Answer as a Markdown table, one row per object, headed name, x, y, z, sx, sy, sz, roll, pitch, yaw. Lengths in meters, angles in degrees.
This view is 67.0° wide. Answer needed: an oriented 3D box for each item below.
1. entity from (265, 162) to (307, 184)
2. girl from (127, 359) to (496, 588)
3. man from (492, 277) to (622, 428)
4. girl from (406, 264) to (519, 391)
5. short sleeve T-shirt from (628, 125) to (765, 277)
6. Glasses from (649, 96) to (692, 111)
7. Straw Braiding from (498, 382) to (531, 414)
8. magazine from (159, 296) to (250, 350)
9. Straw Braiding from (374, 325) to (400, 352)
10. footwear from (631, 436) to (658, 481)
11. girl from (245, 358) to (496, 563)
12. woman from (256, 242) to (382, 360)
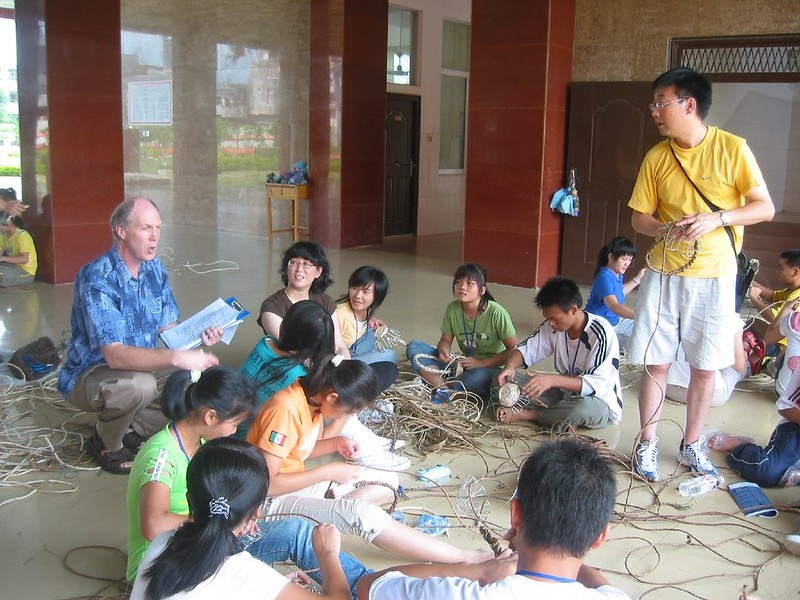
| name | x | y | z | sx | sy | sz | roll | pitch | yaw |
| --- | --- | --- | --- | --- | --- | --- | --- | --- | --- |
| entity | -1.694 | -1.873 | 9.163 | 0.526 | 0.245 | 0.403 | 0 | 7 | 6 |
| girl | -0.174 | 0.654 | 2.439 | 1.064 | 0.797 | 0.462 | 5 | -2 | 14 |
| man | 1.009 | 0.330 | 3.917 | 0.810 | 0.970 | 0.945 | -3 | 11 | -17 |
| girl | 0.440 | 0.205 | 4.097 | 0.652 | 0.920 | 0.715 | -3 | 10 | -35 |
| short sleeve T-shirt | 1.475 | -0.496 | 3.021 | 0.455 | 0.734 | 0.454 | -3 | 11 | -18 |
| Glasses | 1.281 | -0.951 | 2.956 | 0.122 | 0.050 | 0.231 | -2 | 10 | -9 |
| Straw Braiding | 0.699 | 0.588 | 3.652 | 0.053 | 0.198 | 0.188 | 8 | 44 | -54 |
| magazine | -0.998 | 0.165 | 3.139 | 0.392 | 0.104 | 0.249 | -36 | 53 | -16 |
| Straw Braiding | -0.082 | 0.256 | 4.458 | 0.176 | 0.046 | 0.174 | 14 | 27 | 30 |
| footwear | 1.273 | 0.807 | 3.131 | 0.086 | 0.117 | 0.256 | -1 | 31 | 7 |
| girl | -0.135 | 0.639 | 2.476 | 1.061 | 0.744 | 0.514 | 11 | 7 | 12 |
| woman | -0.598 | -0.059 | 3.861 | 0.599 | 0.843 | 0.707 | -6 | 15 | -34 |
